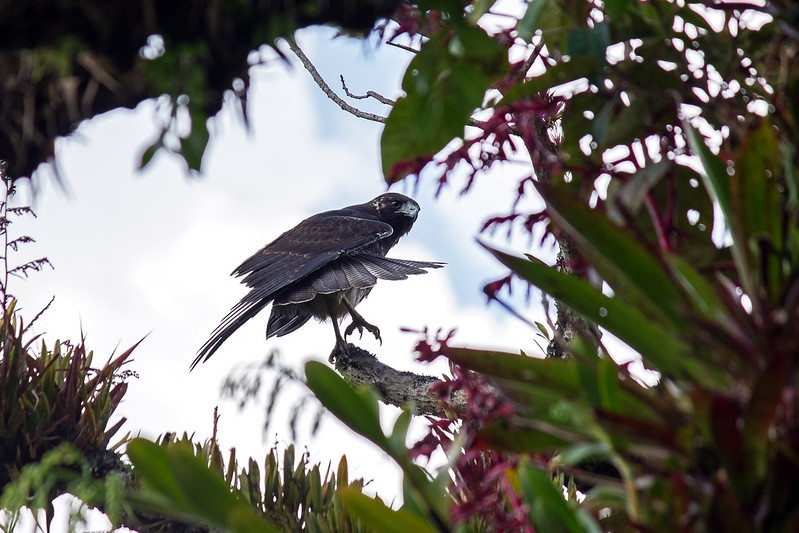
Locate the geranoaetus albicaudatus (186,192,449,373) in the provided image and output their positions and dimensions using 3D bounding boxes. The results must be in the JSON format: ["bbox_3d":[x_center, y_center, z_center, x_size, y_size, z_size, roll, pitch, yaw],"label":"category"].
[{"bbox_3d":[-0.321,-0.002,5.339,0.708,0.394,0.906,-8,-13,-16],"label":"geranoaetus albicaudatus"}]
